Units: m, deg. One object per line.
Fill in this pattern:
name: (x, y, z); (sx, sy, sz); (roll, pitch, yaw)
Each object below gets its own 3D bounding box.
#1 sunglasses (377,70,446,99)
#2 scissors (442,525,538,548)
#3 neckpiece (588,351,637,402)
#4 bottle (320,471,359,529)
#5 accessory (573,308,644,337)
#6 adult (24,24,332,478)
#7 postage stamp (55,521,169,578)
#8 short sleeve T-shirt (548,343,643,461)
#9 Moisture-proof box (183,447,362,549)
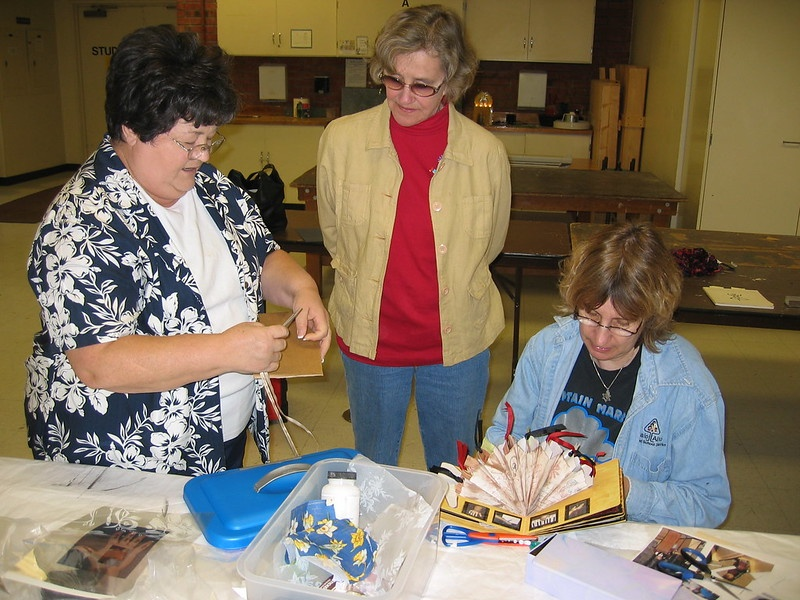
sunglasses: (0.028, -0.697, 2.099); (0.220, 0.077, 0.120); (3, 18, 15)
scissors: (0.204, 0.548, 1.477); (0.207, 0.032, 0.078); (0, 38, 5)
neckpiece: (0.630, 0.227, 1.908); (0.003, 0.148, 0.135); (-7, 9, -43)
bottle: (-0.118, 0.432, 1.398); (0.091, 0.162, 0.095); (-1, -23, 0)
accessory: (0.575, 0.070, 1.820); (0.173, 0.060, 0.057); (5, 19, 22)
adult: (-0.546, -0.057, 1.616); (0.737, 1.187, 0.551); (-16, 22, -39)
postage stamp: (-0.613, 0.534, 1.371); (0.176, 0.040, 0.125); (-2, 18, 0)
short sleeve T-shirt: (0.577, 0.305, 1.883); (0.200, 0.345, 0.177); (22, 1, 35)
Moisture-proof box: (-0.304, 0.444, 1.505); (0.308, 0.075, 0.192); (-18, 32, -24)
